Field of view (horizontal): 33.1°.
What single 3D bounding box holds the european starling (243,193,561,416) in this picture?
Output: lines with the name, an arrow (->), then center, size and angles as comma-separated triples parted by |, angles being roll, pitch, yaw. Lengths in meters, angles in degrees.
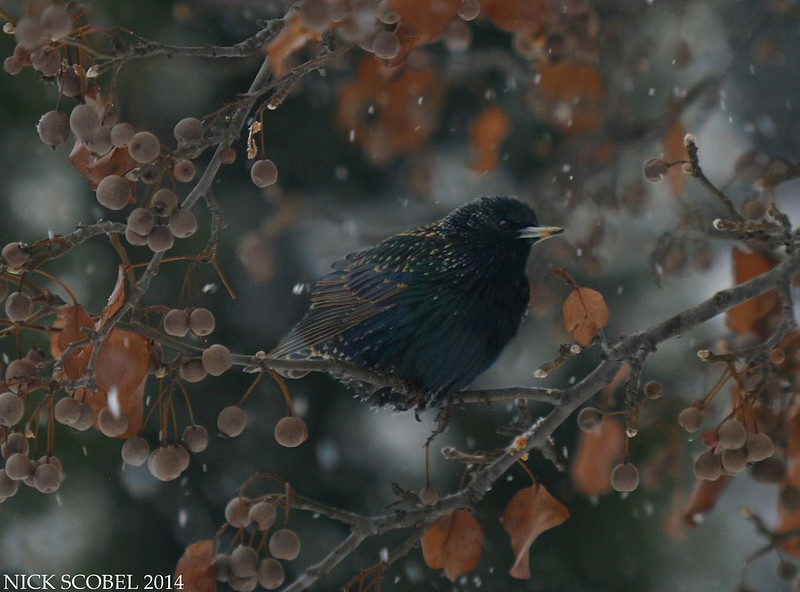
european starling -> 0.147, 0.099, 5.293 | 1.199, 0.913, 0.620 | 3, -20, 22
